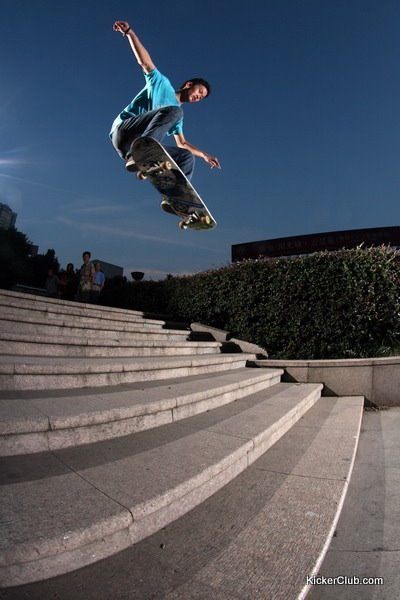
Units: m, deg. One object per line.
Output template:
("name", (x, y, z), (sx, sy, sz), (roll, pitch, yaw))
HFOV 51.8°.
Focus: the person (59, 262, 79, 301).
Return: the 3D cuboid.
("person", (-3.612, -0.502, 11.409), (0.464, 0.879, 0.970), (10, 4, -20))
